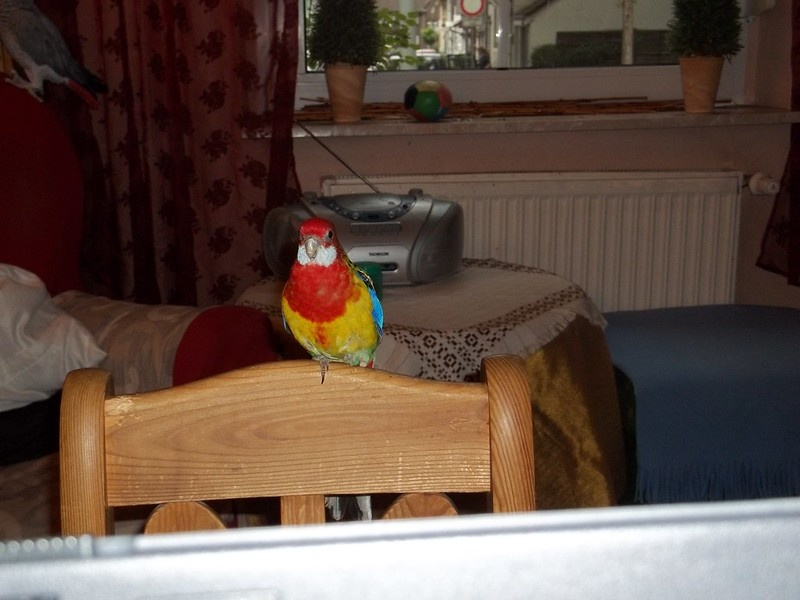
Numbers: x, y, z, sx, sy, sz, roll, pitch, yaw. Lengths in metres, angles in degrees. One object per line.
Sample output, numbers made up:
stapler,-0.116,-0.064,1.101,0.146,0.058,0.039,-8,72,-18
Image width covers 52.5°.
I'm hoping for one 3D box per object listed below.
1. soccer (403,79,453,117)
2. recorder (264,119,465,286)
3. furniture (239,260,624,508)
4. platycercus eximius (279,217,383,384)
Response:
soccer,0.079,-0.519,2.138,0.108,0.136,0.127,7,23,21
recorder,-0.063,-0.172,1.641,0.373,0.328,0.212,-2,18,-9
furniture,0.182,0.064,1.542,0.472,0.320,0.508,-4,23,-7
platycercus eximius,-0.092,-0.004,1.157,0.127,0.278,0.188,0,23,7
